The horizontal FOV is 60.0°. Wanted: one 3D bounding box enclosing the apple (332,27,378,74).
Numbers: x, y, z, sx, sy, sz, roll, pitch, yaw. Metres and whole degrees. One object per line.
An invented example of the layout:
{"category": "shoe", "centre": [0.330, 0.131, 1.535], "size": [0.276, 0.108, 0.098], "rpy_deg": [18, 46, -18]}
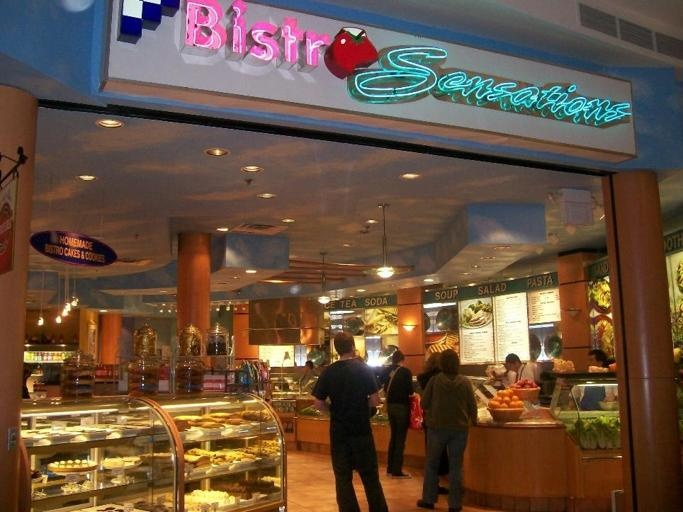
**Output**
{"category": "apple", "centre": [0.098, -1.810, 5.244], "size": [0.437, 0.394, 0.153], "rpy_deg": [-8, -7, -37]}

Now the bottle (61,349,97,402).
{"category": "bottle", "centre": [-2.432, 1.104, 5.471], "size": [0.310, 0.418, 0.297], "rpy_deg": [-1, -8, 0]}

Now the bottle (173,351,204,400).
{"category": "bottle", "centre": [-1.599, 1.251, 6.140], "size": [0.355, 0.460, 0.334], "rpy_deg": [-4, -21, -2]}

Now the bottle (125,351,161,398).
{"category": "bottle", "centre": [-2.020, 1.143, 5.873], "size": [0.356, 0.449, 0.363], "rpy_deg": [0, -13, 0]}

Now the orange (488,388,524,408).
{"category": "orange", "centre": [1.946, 1.686, 6.974], "size": [0.267, 0.145, 0.259], "rpy_deg": [-1, -6, 15]}

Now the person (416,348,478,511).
{"category": "person", "centre": [1.170, 1.972, 6.721], "size": [0.530, 1.772, 0.726], "rpy_deg": [3, -15, -18]}

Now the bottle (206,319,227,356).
{"category": "bottle", "centre": [-1.485, 0.989, 7.065], "size": [0.243, 0.407, 0.604], "rpy_deg": [2, -14, -11]}

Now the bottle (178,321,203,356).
{"category": "bottle", "centre": [-2.035, 1.133, 7.925], "size": [0.325, 0.448, 0.315], "rpy_deg": [-1, -7, 0]}

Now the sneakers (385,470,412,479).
{"category": "sneakers", "centre": [0.815, 3.094, 8.430], "size": [0.372, 0.134, 0.119], "rpy_deg": [0, -4, -12]}
